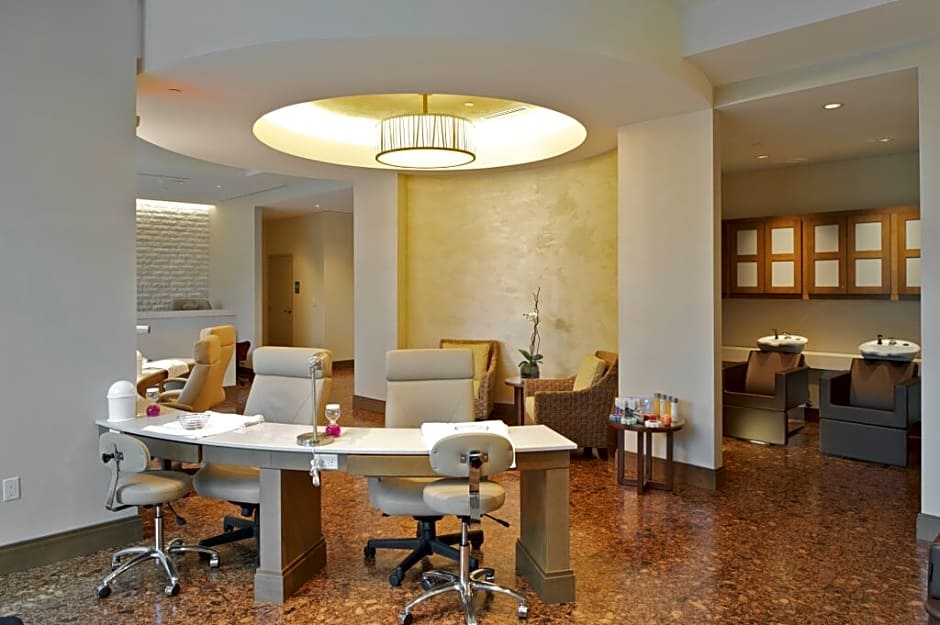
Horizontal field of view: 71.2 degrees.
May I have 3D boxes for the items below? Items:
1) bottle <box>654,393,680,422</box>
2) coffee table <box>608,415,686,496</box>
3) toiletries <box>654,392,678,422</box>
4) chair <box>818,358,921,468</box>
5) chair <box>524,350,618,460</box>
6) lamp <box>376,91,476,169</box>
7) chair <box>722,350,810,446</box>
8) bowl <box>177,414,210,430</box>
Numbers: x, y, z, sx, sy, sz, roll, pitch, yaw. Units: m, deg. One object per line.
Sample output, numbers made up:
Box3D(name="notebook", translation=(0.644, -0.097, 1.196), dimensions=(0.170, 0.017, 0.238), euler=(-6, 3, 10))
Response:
Box3D(name="bottle", translation=(1.990, 0.968, 6.669), dimensions=(0.209, 0.292, 0.254), euler=(1, 1, 18))
Box3D(name="coffee table", translation=(1.812, 1.468, 6.738), dimensions=(0.766, 0.550, 0.772), euler=(-4, -8, 39))
Box3D(name="toiletries", translation=(1.996, 0.971, 6.667), dimensions=(0.246, 0.284, 0.205), euler=(0, -1, 38))
Box3D(name="chair", translation=(4.677, 1.071, 7.582), dimensions=(1.059, 1.031, 0.984), euler=(-6, 5, -38))
Box3D(name="chair", translation=(1.291, 0.964, 7.640), dimensions=(1.180, 1.569, 1.118), euler=(2, -3, -1))
Box3D(name="lamp", translation=(-0.451, -1.810, 7.208), dimensions=(0.884, 0.940, 0.886), euler=(0, -2, 7))
Box3D(name="chair", translation=(3.769, 1.018, 8.362), dimensions=(0.825, 1.006, 1.089), euler=(1, 3, 39))
Box3D(name="bowl", translation=(-2.138, 0.838, 5.106), dimensions=(0.146, 0.078, 0.145), euler=(-2, -9, 0))
